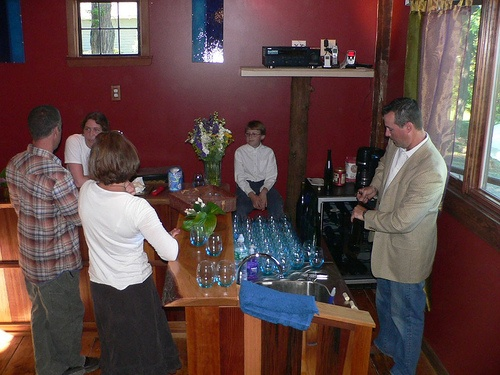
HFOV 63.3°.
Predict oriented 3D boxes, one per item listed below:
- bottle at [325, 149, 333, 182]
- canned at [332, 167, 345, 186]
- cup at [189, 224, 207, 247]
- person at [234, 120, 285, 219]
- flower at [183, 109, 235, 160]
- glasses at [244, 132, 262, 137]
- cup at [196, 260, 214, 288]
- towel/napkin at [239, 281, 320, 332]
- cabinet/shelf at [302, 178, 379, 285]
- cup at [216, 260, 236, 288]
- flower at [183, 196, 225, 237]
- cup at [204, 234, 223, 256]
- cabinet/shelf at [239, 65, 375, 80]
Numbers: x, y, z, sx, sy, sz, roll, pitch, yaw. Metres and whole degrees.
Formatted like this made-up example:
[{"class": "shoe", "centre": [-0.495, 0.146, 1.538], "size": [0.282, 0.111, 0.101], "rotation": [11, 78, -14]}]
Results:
[{"class": "bottle", "centre": [0.865, -0.229, 4.503], "size": [0.092, 0.360, 0.319], "rotation": [1, 16, 12]}, {"class": "canned", "centre": [0.981, -0.119, 4.587], "size": [0.154, 0.204, 0.156], "rotation": [-3, 5, -38]}, {"class": "cup", "centre": [-0.396, 0.338, 3.021], "size": [0.128, 0.164, 0.140], "rotation": [0, 11, 0]}, {"class": "person", "centre": [0.077, -0.199, 4.717], "size": [0.529, 1.125, 0.820], "rotation": [-3, 15, -3]}, {"class": "flower", "centre": [-0.379, -0.436, 4.088], "size": [0.437, 0.526, 0.484], "rotation": [-10, 16, 19]}, {"class": "glasses", "centre": [0.035, -0.617, 4.649], "size": [0.174, 0.052, 0.083], "rotation": [-1, 16, 2]}, {"class": "cup", "centre": [-0.282, 0.554, 2.644], "size": [0.125, 0.195, 0.132], "rotation": [0, 9, 0]}, {"class": "towel/napkin", "centre": [0.165, 0.709, 2.433], "size": [0.373, 0.135, 0.238], "rotation": [12, 7, 7]}, {"class": "cabinet/shelf", "centre": [0.866, 0.438, 3.831], "size": [0.903, 1.074, 0.539], "rotation": [3, 3, 1]}, {"class": "cup", "centre": [-0.156, 0.546, 2.595], "size": [0.126, 0.144, 0.115], "rotation": [-3, 15, -4]}, {"class": "flower", "centre": [-0.361, 0.245, 3.017], "size": [0.292, 0.269, 0.295], "rotation": [0, 16, 6]}, {"class": "cup", "centre": [-0.255, 0.392, 2.856], "size": [0.113, 0.138, 0.122], "rotation": [0, 8, 0]}, {"class": "cabinet/shelf", "centre": [0.632, -1.346, 4.692], "size": [1.498, 0.150, 0.444], "rotation": [-3, 17, -2]}]
